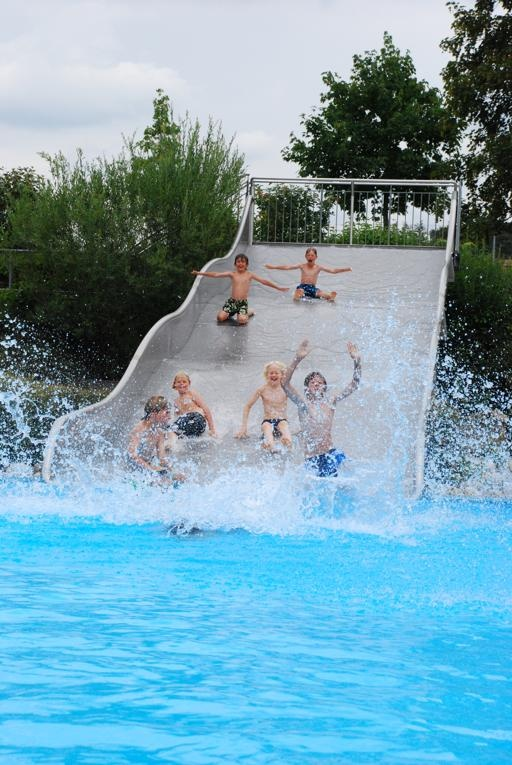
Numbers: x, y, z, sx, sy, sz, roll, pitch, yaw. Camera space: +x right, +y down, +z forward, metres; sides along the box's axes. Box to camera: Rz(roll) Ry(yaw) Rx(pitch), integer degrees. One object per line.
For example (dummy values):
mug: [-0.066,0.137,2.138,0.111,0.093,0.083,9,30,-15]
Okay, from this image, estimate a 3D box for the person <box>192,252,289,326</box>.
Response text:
person: [-0.230,-1.326,9.804,1.331,0.960,0.656,7,10,-1]

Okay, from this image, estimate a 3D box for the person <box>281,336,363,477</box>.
person: [0.590,0.218,6.192,0.642,1.118,1.573,3,2,8]

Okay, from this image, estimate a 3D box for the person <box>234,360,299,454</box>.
person: [0.186,0.242,6.558,0.730,0.733,0.960,2,17,0]

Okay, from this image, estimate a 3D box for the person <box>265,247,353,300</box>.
person: [0.799,-1.653,10.395,1.291,0.813,0.789,4,9,7]
